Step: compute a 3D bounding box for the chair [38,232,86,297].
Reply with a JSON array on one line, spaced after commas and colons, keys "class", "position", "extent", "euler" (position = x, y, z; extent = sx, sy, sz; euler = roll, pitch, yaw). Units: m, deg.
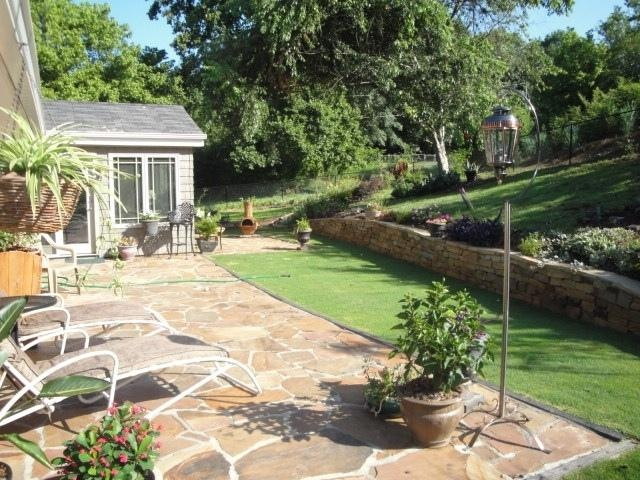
[{"class": "chair", "position": [-4.234, 0.369, 9.149], "extent": [0.839, 1.049, 0.813], "euler": [-2, 3, 21]}]

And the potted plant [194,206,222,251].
[{"class": "potted plant", "position": [-2.942, -0.195, 14.246], "extent": [0.630, 0.993, 0.647], "euler": [-5, -7, 17]}]

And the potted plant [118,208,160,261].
[{"class": "potted plant", "position": [-4.335, -0.203, 13.159], "extent": [0.593, 0.544, 1.275], "euler": [14, 28, 31]}]

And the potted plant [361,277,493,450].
[{"class": "potted plant", "position": [1.118, 1.145, 5.648], "extent": [1.193, 1.825, 1.403], "euler": [0, -2, -42]}]

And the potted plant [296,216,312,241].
[{"class": "potted plant", "position": [-0.433, -0.294, 14.409], "extent": [0.362, 0.629, 0.670], "euler": [-1, 4, -4]}]

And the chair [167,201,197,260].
[{"class": "chair", "position": [-3.429, -0.299, 13.662], "extent": [0.660, 1.297, 0.641], "euler": [-3, 4, -22]}]
